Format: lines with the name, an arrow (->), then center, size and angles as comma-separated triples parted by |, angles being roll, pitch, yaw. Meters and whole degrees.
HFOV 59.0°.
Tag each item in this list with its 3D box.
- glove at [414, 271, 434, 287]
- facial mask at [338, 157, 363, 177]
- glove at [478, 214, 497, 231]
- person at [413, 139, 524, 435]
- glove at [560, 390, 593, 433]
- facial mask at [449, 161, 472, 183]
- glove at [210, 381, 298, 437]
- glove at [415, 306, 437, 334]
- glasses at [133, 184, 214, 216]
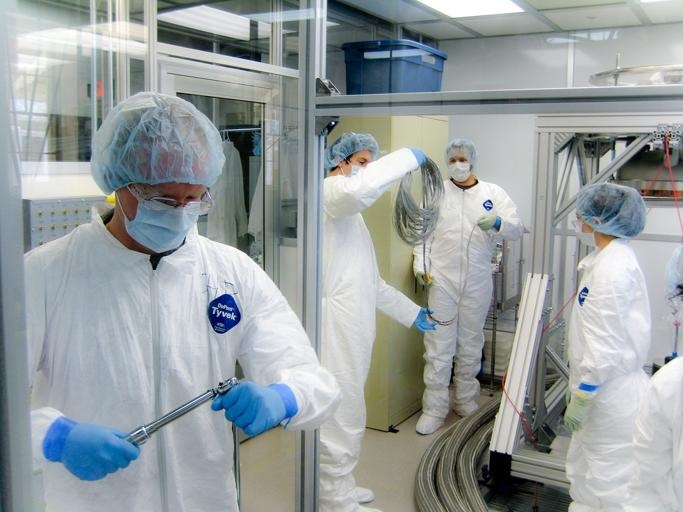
glove -> 0.533, 0.145, 3.908 | 0.070, 0.105, 0.087 | -11, 19, 12
facial mask -> 0.053, -0.435, 2.998 | 0.099, 0.068, 0.091 | 3, 15, 11
glove -> 0.921, -0.203, 3.784 | 0.112, 0.110, 0.136 | 4, 8, 17
person -> 0.791, 0.206, 3.945 | 0.636, 1.963, 0.591 | 3, 21, 15
glove -> 1.039, 0.690, 2.640 | 0.058, 0.205, 0.112 | 10, 9, -37
facial mask -> 0.756, -0.533, 3.856 | 0.144, 0.124, 0.125 | 4, 8, 17
glove -> -0.225, 0.397, 1.557 | 0.175, 0.085, 0.146 | 1, -36, 27
glove -> 0.511, 0.379, 3.594 | 0.129, 0.211, 0.075 | -5, 8, -19
glasses -> -0.435, -0.140, 1.549 | 0.207, 0.074, 0.088 | -2, 8, -22
